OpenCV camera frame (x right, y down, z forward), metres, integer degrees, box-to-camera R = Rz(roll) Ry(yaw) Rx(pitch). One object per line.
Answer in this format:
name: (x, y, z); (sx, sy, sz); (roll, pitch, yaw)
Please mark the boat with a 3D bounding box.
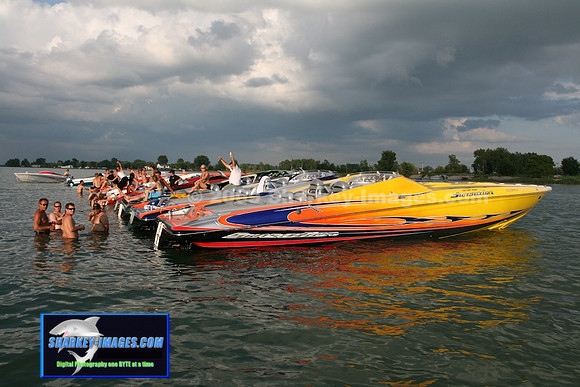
boat: (5.453, 0.702, 16.090); (28.498, 3.826, 4.822); (-1, 3, -10)
